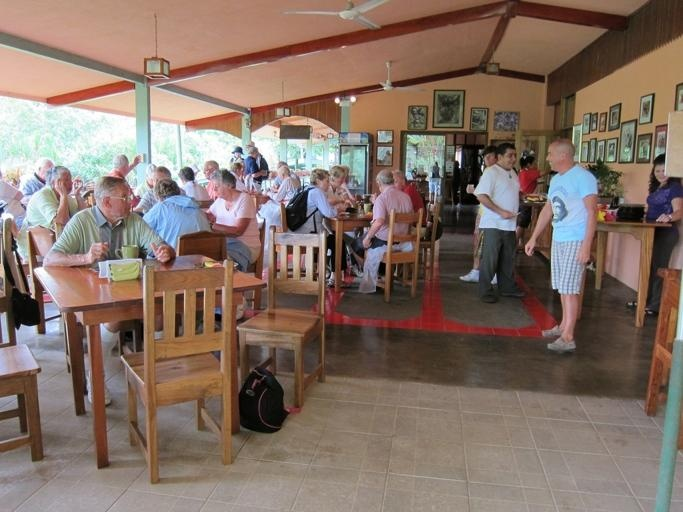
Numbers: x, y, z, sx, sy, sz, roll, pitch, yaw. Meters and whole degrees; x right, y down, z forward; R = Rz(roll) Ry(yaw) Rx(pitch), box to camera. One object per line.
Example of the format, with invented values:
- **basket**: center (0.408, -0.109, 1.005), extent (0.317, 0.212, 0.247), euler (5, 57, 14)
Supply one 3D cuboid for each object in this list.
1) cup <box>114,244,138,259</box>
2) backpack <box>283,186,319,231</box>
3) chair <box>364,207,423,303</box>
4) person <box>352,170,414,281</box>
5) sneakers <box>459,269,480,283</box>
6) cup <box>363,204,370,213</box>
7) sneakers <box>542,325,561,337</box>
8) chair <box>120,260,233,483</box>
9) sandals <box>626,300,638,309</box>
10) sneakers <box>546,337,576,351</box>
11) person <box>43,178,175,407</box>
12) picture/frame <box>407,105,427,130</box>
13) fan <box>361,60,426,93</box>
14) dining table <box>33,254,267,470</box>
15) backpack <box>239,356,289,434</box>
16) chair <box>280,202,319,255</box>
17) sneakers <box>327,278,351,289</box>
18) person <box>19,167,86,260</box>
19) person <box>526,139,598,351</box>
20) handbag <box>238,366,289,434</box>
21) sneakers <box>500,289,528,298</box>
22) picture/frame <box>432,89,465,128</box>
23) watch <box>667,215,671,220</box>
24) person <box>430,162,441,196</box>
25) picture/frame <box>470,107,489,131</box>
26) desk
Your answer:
- **cup**: center (-1.451, -0.040, 3.628), extent (0.170, 0.117, 0.108), euler (-1, 4, -11)
- **backpack**: center (-0.492, -0.536, 6.480), extent (0.353, 0.604, 0.425), euler (10, -7, -10)
- **chair**: center (0.573, -0.031, 6.329), extent (0.619, 1.014, 0.652), euler (-1, 7, -21)
- **person**: center (0.437, -0.339, 6.541), extent (0.635, 1.315, 0.822), euler (-1, 9, -23)
- **sneakers**: center (1.723, 0.267, 7.138), extent (0.336, 0.153, 0.117), euler (1, 5, 10)
- **cup**: center (0.339, -0.633, 7.025), extent (0.103, 0.113, 0.100), euler (-1, 6, 0)
- **sneakers**: center (1.967, 0.701, 4.992), extent (0.079, 0.093, 0.236), euler (0, -1, -40)
- **chair**: center (-0.966, 0.591, 3.250), extent (0.670, 1.244, 0.716), euler (-4, 13, -23)
- **sandals**: center (3.316, 0.557, 6.125), extent (0.073, 0.065, 0.183), euler (-5, 0, 15)
- **sneakers**: center (1.944, 0.788, 4.781), extent (0.266, 0.112, 0.098), euler (0, 1, 6)
- **person**: center (-1.680, 0.137, 4.001), extent (0.828, 1.342, 0.721), euler (-5, 18, -23)
- **picture/frame**: center (1.875, -3.445, 13.121), extent (0.613, 0.706, 0.076), euler (1, 7, 9)
- **fan**: center (1.202, -4.197, 11.844), extent (1.075, 0.687, 1.067), euler (0, 16, 15)
- **dining table**: center (-1.211, 0.512, 3.593), extent (1.332, 0.977, 1.240), euler (-3, 9, -24)
- **backpack**: center (-0.505, 0.942, 3.582), extent (0.336, 0.374, 0.407), euler (9, 7, 41)
- **chair**: center (-0.513, -0.474, 6.461), extent (0.343, 0.468, 0.287), euler (-18, -8, 10)
- **sneakers**: center (-0.044, 0.345, 6.709), extent (0.335, 0.110, 0.116), euler (0, 8, -9)
- **person**: center (-2.858, -0.369, 5.276), extent (0.553, 1.015, 0.461), euler (9, 18, -6)
- **person**: center (1.958, -0.103, 4.771), extent (0.501, 1.849, 0.555), euler (3, 12, 12)
- **handbag**: center (-0.497, 0.958, 3.583), extent (0.399, 0.367, 0.351), euler (5, 3, -33)
- **sneakers**: center (2.079, 0.446, 6.432), extent (0.285, 0.129, 0.103), euler (-4, 3, 10)
- **picture/frame**: center (2.619, -3.626, 12.960), extent (0.968, 1.109, 0.047), euler (1, 4, 2)
- **watch**: center (3.247, -0.380, 5.295), extent (0.093, 0.057, 0.031), euler (-10, 15, -43)
- **person**: center (2.412, -1.960, 13.427), extent (0.229, 0.844, 0.360), euler (10, 15, 38)
- **picture/frame**: center (3.327, -3.309, 12.853), extent (0.582, 0.687, 0.047), euler (1, 2, 2)
- **desk**: center (2.952, -0.026, 5.549), extent (0.589, 0.544, 0.557), euler (-6, 24, -42)
